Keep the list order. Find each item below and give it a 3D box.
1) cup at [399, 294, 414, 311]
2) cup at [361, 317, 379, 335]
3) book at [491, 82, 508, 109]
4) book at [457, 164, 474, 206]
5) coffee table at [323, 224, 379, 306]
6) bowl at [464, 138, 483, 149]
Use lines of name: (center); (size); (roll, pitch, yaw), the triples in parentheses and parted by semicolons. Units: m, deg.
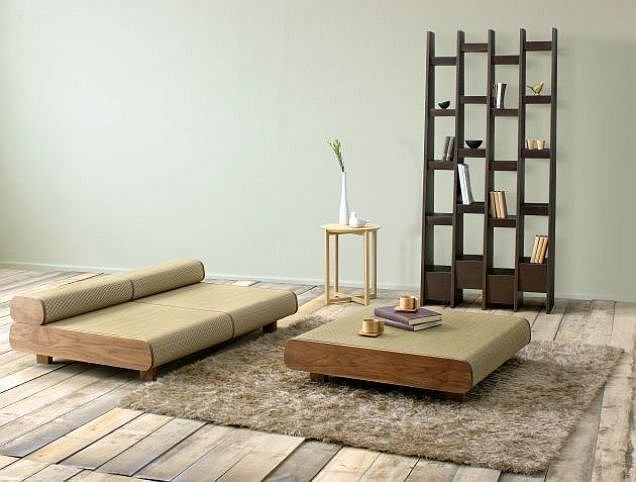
cup: (0.503, 0.362, 3.040); (0.127, 0.063, 0.072); (0, 2, 15)
cup: (0.304, 0.482, 2.866); (0.118, 0.061, 0.075); (1, -1, 6)
book: (1.632, -1.301, 4.587); (0.105, 0.249, 0.213); (2, 9, 17)
book: (1.345, -0.514, 4.649); (0.093, 0.301, 0.356); (-7, -2, 24)
coffee table: (0.337, 0.181, 4.995); (0.507, 0.737, 0.982); (0, 8, 5)
bowl: (1.433, -0.891, 4.692); (0.181, 0.060, 0.155); (0, 2, 2)
